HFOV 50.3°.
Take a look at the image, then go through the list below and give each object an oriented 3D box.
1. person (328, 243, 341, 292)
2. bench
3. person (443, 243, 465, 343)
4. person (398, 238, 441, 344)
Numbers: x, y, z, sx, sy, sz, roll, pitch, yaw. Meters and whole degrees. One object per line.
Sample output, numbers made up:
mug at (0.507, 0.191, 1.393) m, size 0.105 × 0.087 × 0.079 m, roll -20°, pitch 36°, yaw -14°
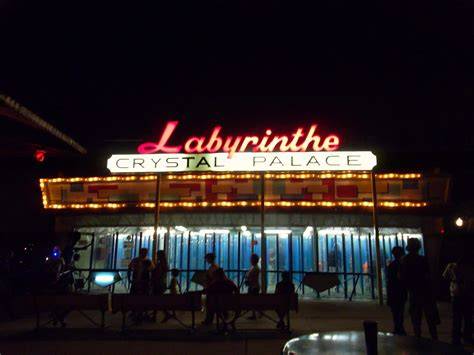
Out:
person at (3.984, 3.277, 20.861) m, size 0.575 × 1.155 × 0.134 m, roll -4°, pitch -14°, yaw 9°
bench at (-2.389, 4.119, 15.480) m, size 8.211 × 1.333 × 0.757 m, roll -2°, pitch -13°, yaw 1°
person at (6.379, 3.578, 14.542) m, size 0.640 × 2.305 × 0.409 m, roll -7°, pitch -14°, yaw 19°
person at (5.059, 3.074, 14.142) m, size 0.913 × 2.769 × 0.412 m, roll -6°, pitch -14°, yaw 15°
